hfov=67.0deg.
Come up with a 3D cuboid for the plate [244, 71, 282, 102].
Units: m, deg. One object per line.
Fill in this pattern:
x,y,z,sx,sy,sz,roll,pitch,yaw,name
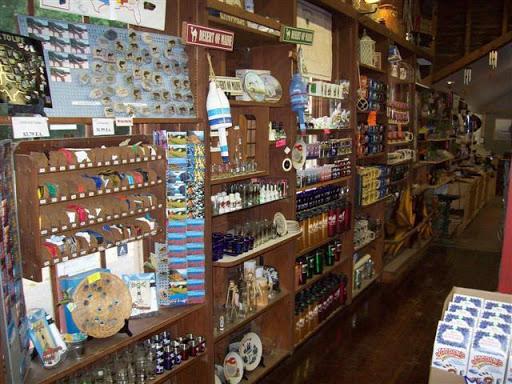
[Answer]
0.063,-0.940,3.508,0.294,0.317,0.069,8,-14,-43,plate
